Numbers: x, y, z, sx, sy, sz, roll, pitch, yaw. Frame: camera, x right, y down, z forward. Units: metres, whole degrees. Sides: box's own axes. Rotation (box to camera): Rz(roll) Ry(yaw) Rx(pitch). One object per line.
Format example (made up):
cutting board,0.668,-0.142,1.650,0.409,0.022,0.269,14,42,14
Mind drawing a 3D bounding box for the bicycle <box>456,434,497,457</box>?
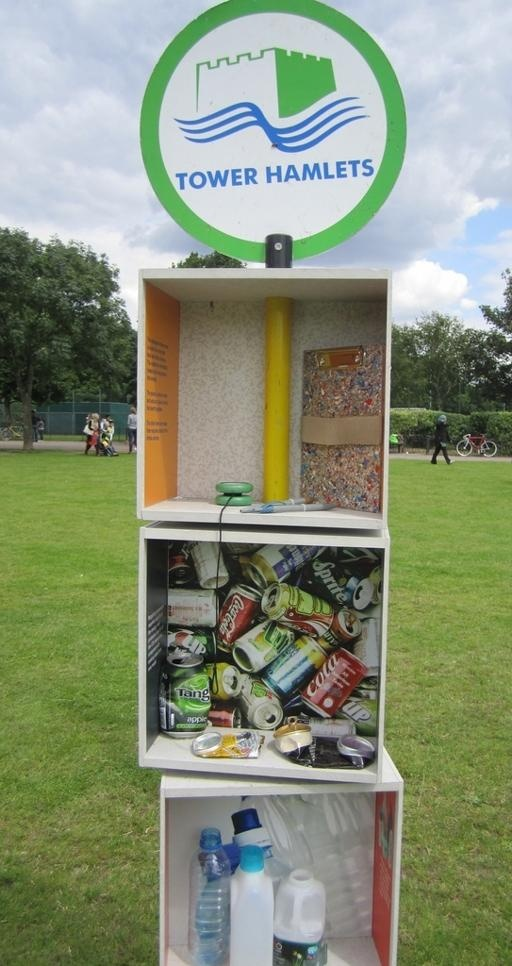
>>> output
bicycle,9.611,-1.550,31.318,1.487,0.902,2.354,3,4,38
